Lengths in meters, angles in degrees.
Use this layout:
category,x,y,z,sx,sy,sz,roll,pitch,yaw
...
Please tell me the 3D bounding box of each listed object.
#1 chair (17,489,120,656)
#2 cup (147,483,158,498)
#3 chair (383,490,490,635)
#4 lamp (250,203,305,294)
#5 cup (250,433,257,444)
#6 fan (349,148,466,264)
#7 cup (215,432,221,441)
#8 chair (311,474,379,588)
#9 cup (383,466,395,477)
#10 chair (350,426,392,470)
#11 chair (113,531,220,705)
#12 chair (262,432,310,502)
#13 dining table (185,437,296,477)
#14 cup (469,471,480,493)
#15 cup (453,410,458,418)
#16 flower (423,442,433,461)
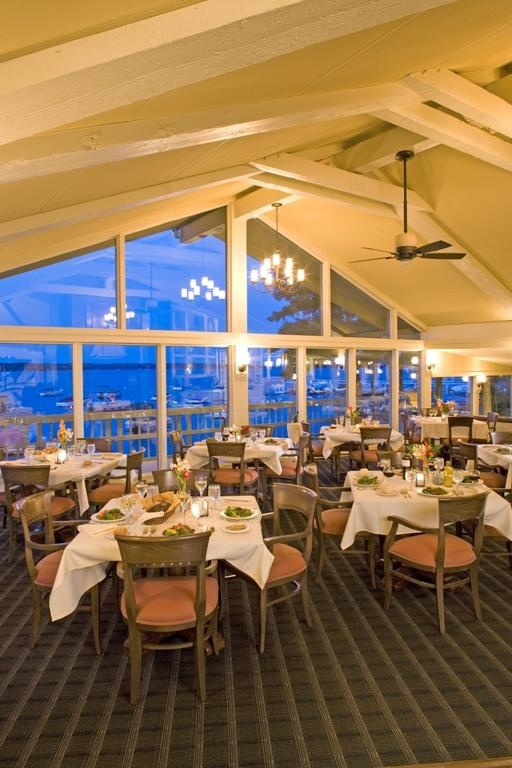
category,x,y,z,sx,sy,sz,roll,pitch,yaw
chair,-1.200,1.215,3.462,0.633,1.033,0.752,-1,4,-6
cup,-0.673,0.699,3.612,0.061,0.083,0.083,1,-11,-5
chair,1.222,1.078,3.723,0.629,0.832,0.961,0,2,20
lamp,0.327,-2.087,8.453,0.792,1.441,2.591,0,2,5
cup,-0.021,0.689,6.955,0.069,0.122,0.080,0,-2,-1
fan,1.680,-2.059,6.374,1.260,1.180,1.432,1,3,33
cup,-0.452,0.619,6.430,0.074,0.118,0.075,-1,3,0
chair,0.656,1.113,4.471,0.671,1.058,0.703,-1,2,3
cup,1.076,0.698,4.366,0.075,0.079,0.077,0,-2,0
chair,1.575,0.901,7.461,0.520,0.728,1.648,0,2,12
chair,-0.455,1.124,2.965,0.581,0.875,0.840,-1,2,-11
chair,0.417,0.944,6.441,0.642,0.966,0.661,2,-2,4
dining table,-0.164,0.833,6.248,0.719,0.197,0.723,0,1,16
cup,1.677,0.746,4.165,0.076,0.173,0.076,-1,-5,0
cup,4.101,0.604,11.144,0.099,0.146,0.044,12,7,23
flower,1.358,0.524,4.284,0.062,0.148,0.191,0,2,16
